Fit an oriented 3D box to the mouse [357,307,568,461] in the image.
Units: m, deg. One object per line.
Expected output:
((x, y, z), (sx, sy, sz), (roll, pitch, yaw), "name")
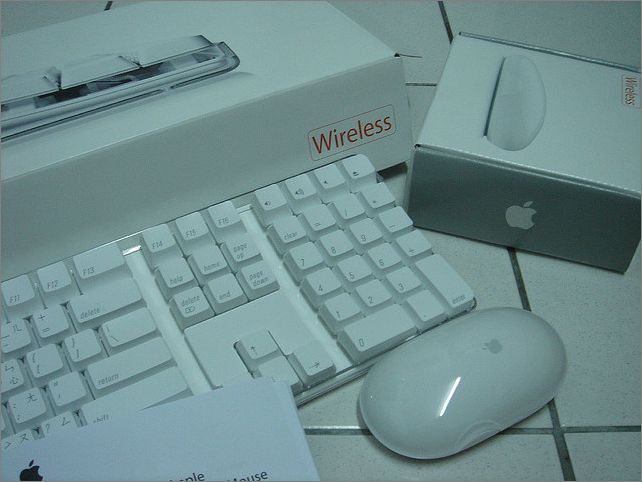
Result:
((0.127, 0.120, 0.512), (0.192, 0.044, 0.099), (-27, 55, -12), "mouse")
